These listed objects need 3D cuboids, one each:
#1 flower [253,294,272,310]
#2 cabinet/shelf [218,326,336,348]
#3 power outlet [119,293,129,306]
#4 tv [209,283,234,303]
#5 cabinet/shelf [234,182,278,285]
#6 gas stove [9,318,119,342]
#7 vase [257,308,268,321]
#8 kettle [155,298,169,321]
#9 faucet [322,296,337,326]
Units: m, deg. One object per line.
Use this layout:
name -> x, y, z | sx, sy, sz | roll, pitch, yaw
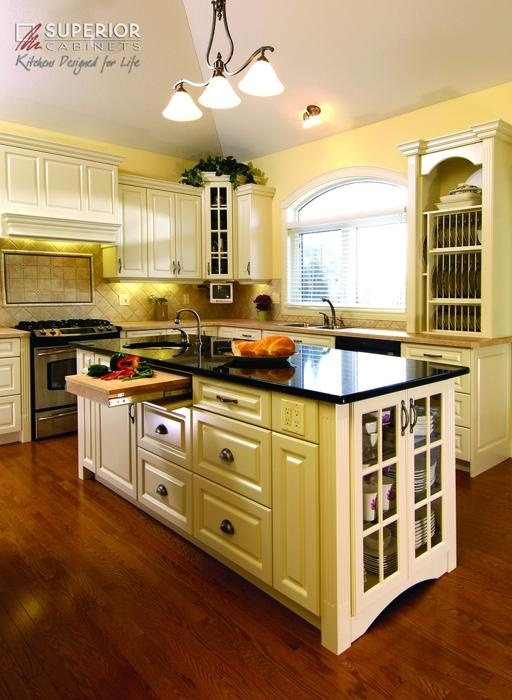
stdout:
flower -> 0.065, -0.487, 5.500 | 0.172, 0.170, 0.164 | 1, 2, 3
cabinet/shelf -> 0.165, -0.155, 4.526 | 0.233, 0.194, 1.007 | -8, 10, -39
power outlet -> -1.282, -0.489, 5.206 | 0.012, 0.089, 0.090 | 5, 37, 38
tv -> -0.360, -0.590, 5.757 | 0.324, 0.308, 0.183 | 0, 2, -5
cabinet/shelf -> -0.014, -1.172, 5.521 | 0.337, 0.942, 0.327 | -4, 6, -36
gas stove -> -1.524, -0.158, 4.391 | 0.368, 0.141, 0.839 | 5, 8, 43
vase -> 0.058, -0.353, 5.552 | 0.112, 0.085, 0.109 | 2, 4, 41
kettle -> -0.957, -0.413, 5.466 | 0.133, 0.225, 0.229 | -2, 5, -10
faucet -> 0.658, -0.343, 4.824 | 0.135, 0.253, 0.557 | 0, 6, 7
